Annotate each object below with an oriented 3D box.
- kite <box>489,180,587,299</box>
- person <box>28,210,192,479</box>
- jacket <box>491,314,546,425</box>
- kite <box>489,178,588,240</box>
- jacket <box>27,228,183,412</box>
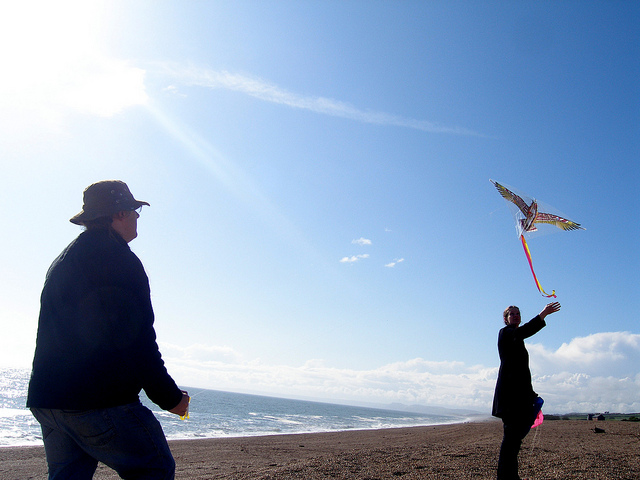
[{"bbox_3d":[4.028,0.102,8.758,0.692,1.779,2.045,3,-15,-44],"label":"kite"},{"bbox_3d":[-1.491,0.706,3.369,1.035,1.927,0.474,-6,-12,14],"label":"person"},{"bbox_3d":[2.458,1.747,6.059,0.519,1.205,0.338,-8,-13,26],"label":"jacket"},{"bbox_3d":[3.902,-0.650,8.744,0.899,1.068,1.113,5,-15,-29],"label":"kite"},{"bbox_3d":[-1.516,0.551,3.345,0.986,1.321,0.345,-5,-12,12],"label":"jacket"}]
